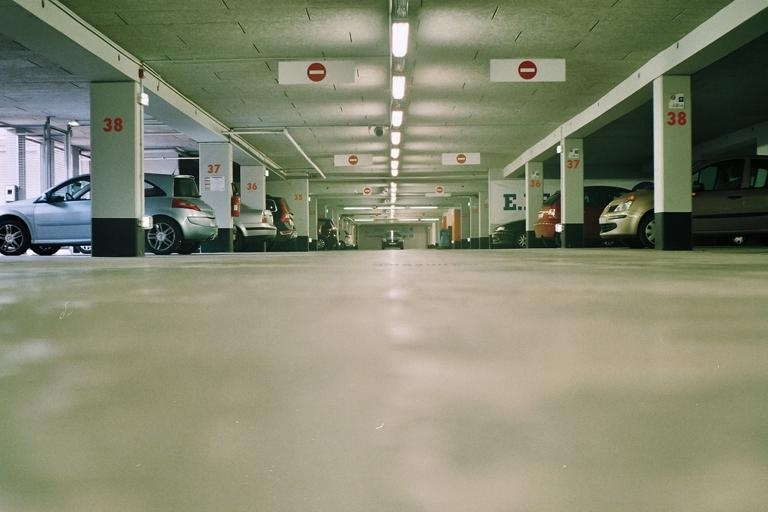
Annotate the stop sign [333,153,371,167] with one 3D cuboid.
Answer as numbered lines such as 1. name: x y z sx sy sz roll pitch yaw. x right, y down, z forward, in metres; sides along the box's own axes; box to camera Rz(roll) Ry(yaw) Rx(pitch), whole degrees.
1. stop sign: -0.962 -2.978 18.458 1.110 0.328 0.589 -2 13 -5

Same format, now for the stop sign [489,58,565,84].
1. stop sign: 2.262 -2.937 9.417 1.137 0.345 0.288 0 13 3

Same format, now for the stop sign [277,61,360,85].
1. stop sign: -1.051 -2.914 9.427 1.213 0.355 0.249 0 13 7

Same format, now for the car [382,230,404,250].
1. car: 0.636 -1.118 40.342 0.974 0.846 2.057 0 -2 2

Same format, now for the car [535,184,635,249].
1. car: 4.678 -0.962 14.396 2.351 1.070 1.248 -2 1 -2
